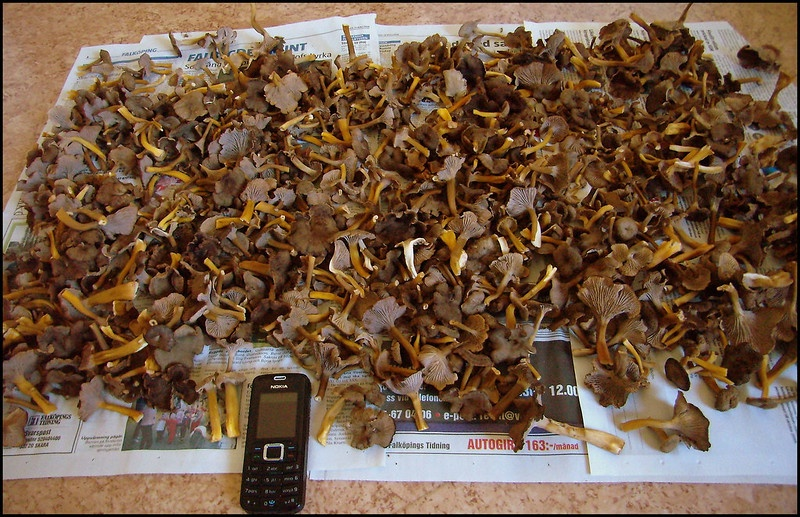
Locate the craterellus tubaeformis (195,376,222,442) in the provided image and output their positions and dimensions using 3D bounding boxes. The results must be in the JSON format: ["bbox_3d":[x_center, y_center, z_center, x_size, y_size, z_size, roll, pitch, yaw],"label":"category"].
[{"bbox_3d":[-0.494,0.391,1.457,0.080,0.087,0.177,3,56,-29],"label":"craterellus tubaeformis"}]

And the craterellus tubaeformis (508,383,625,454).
[{"bbox_3d":[0.418,0.437,1.471,0.258,0.145,0.164,16,69,11],"label":"craterellus tubaeformis"}]

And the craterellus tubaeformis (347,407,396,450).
[{"bbox_3d":[-0.074,0.428,1.423,0.115,0.056,0.097,7,70,5],"label":"craterellus tubaeformis"}]

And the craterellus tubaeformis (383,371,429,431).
[{"bbox_3d":[0.036,0.368,1.446,0.111,0.102,0.130,1,69,-35],"label":"craterellus tubaeformis"}]

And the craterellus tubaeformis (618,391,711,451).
[{"bbox_3d":[0.681,0.433,1.436,0.201,0.080,0.148,-4,33,34],"label":"craterellus tubaeformis"}]

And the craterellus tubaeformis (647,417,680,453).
[{"bbox_3d":[0.664,0.444,1.421,0.079,0.026,0.079,36,98,24],"label":"craterellus tubaeformis"}]

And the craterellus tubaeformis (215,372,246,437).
[{"bbox_3d":[-0.447,0.378,1.474,0.099,0.102,0.169,2,71,-18],"label":"craterellus tubaeformis"}]
